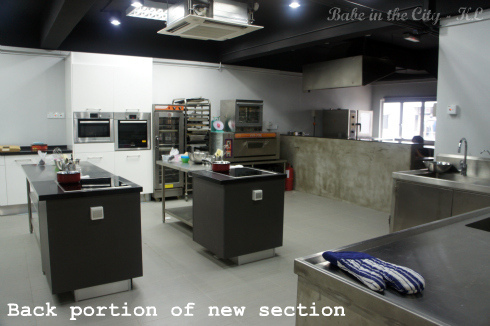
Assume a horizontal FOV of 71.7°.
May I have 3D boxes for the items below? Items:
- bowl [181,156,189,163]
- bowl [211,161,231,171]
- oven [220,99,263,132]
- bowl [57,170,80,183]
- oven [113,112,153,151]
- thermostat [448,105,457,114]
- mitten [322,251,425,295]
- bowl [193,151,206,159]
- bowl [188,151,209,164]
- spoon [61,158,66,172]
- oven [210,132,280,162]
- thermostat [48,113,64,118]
[{"bbox_3d":[-1.029,-0.079,5.781,0.099,0.072,0.098,0,0,0],"label":"bowl"},{"bbox_3d":[-0.348,0.028,5.061,0.275,0.130,0.205,0,13,-4],"label":"bowl"},{"bbox_3d":[-0.086,-1.141,8.005,0.991,0.744,0.625,0,13,-1],"label":"oven"},{"bbox_3d":[-2.108,0.154,4.034,0.166,0.101,0.168,1,4,0],"label":"bowl"},{"bbox_3d":[-2.348,-0.669,7.104,0.707,0.786,0.511,-1,10,-30],"label":"oven"},{"bbox_3d":[3.289,-0.860,5.358,0.079,0.146,0.146,1,0,-28],"label":"thermostat"},{"bbox_3d":[0.813,0.664,2.397,0.678,0.178,0.739,3,5,-16],"label":"mitten"},{"bbox_3d":[-0.779,-0.146,5.818,0.215,0.094,0.322,-1,13,-8],"label":"bowl"},{"bbox_3d":[-0.800,-0.114,5.846,0.253,0.145,0.253,1,-1,0],"label":"bowl"},{"bbox_3d":[-2.261,0.011,4.213,0.048,0.056,0.187,-3,48,-39],"label":"spoon"},{"bbox_3d":[0.075,-0.415,7.983,1.598,0.705,0.458,-5,14,-23],"label":"oven"},{"bbox_3d":[-3.989,-1.021,7.144,0.287,0.100,0.040,-6,14,-27],"label":"thermostat"}]
